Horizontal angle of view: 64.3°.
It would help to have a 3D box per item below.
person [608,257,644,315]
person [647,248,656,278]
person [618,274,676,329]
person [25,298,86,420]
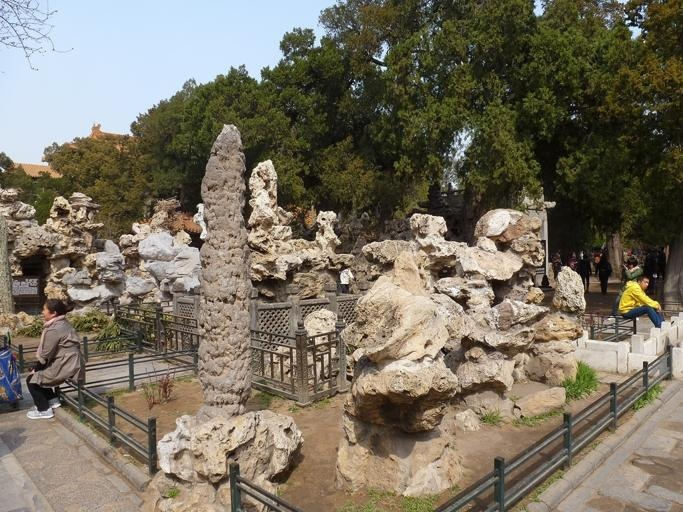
[{"bbox_3d":[7.884,0.894,15.157,0.544,1.930,0.538,8,27,20],"label":"person"},{"bbox_3d":[11.484,0.314,20.234,0.233,0.974,0.397,-2,-3,21],"label":"person"},{"bbox_3d":[7.778,1.118,14.401,1.415,1.965,0.912,-1,3,19],"label":"person"},{"bbox_3d":[-5.421,1.958,10.318,0.972,2.293,0.759,-3,-4,42],"label":"person"}]
